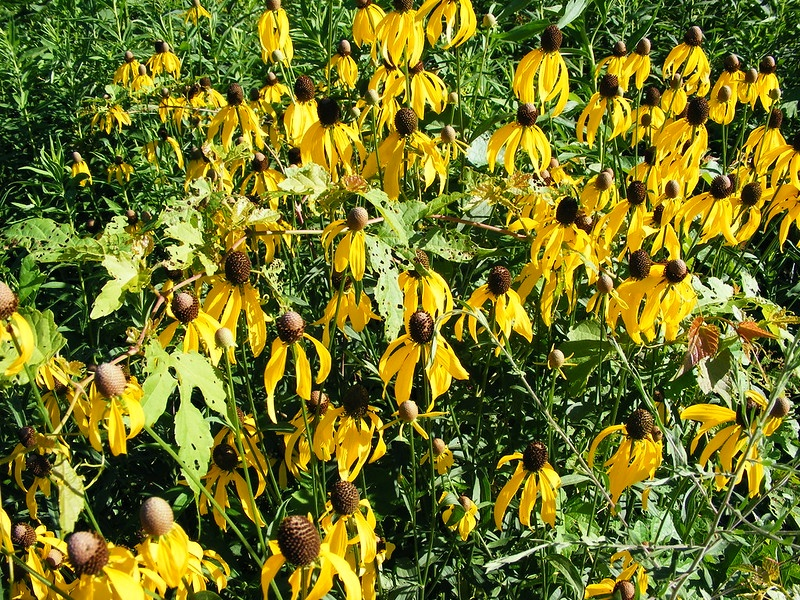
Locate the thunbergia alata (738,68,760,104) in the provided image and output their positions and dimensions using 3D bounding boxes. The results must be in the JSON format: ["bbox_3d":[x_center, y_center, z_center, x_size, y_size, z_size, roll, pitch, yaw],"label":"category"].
[{"bbox_3d":[1.577,-0.962,4.073,0.083,0.163,0.043,5,1,14],"label":"thunbergia alata"}]

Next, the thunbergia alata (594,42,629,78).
[{"bbox_3d":[0.997,-1.120,4.174,0.102,0.152,0.223,5,33,13],"label":"thunbergia alata"}]

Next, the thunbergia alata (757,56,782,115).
[{"bbox_3d":[1.654,-0.960,4.004,0.098,0.289,0.101,-1,12,7],"label":"thunbergia alata"}]

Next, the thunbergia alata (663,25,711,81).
[{"bbox_3d":[1.361,-1.135,4.166,0.185,0.248,0.268,-4,-1,43],"label":"thunbergia alata"}]

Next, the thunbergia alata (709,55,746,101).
[{"bbox_3d":[1.511,-1.043,4.102,0.131,0.063,0.196,-5,-12,13],"label":"thunbergia alata"}]

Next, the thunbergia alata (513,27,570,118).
[{"bbox_3d":[0.597,-0.955,3.718,0.211,0.354,0.236,15,28,15],"label":"thunbergia alata"}]
